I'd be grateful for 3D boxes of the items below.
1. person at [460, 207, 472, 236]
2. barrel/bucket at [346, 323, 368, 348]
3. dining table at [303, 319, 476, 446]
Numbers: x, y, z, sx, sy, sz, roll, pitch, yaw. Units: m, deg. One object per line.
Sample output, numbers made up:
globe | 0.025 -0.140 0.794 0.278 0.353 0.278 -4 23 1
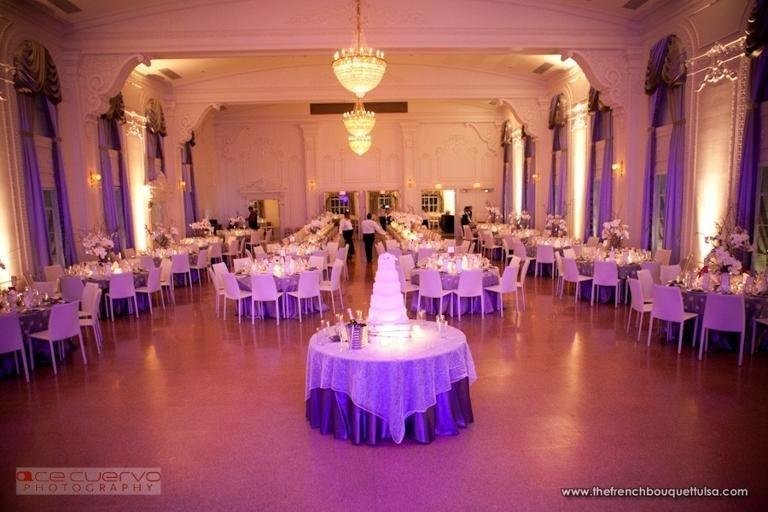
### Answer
person | 3.583 -1.514 22.859 0.436 1.566 1.275 2 11 21
barrel/bucket | -0.400 1.093 7.160 0.276 0.358 0.306 -1 1 -8
dining table | 0.035 1.788 7.134 1.655 0.942 1.673 0 6 27
